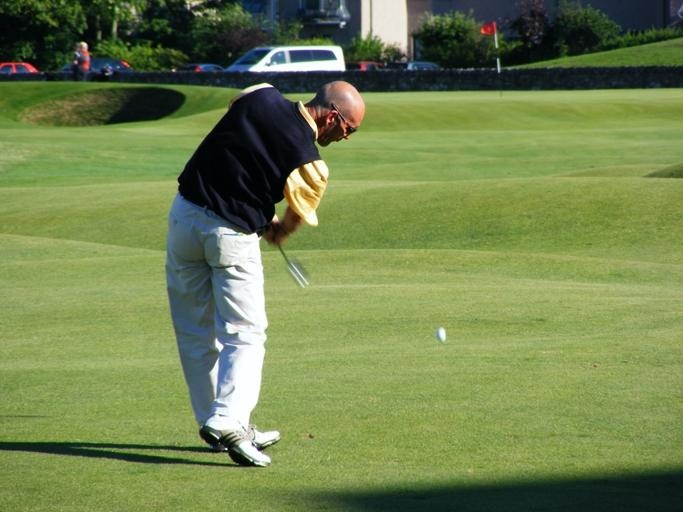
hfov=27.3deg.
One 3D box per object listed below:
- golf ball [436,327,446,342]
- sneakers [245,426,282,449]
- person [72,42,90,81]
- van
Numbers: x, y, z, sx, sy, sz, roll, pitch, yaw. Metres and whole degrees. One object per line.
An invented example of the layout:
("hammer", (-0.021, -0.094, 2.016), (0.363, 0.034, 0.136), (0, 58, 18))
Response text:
("golf ball", (1.219, 0.957, 17.120), (0.123, 0.143, 0.057), (0, -9, 11))
("sneakers", (-0.855, 1.982, 15.454), (0.478, 0.207, 0.155), (-4, 20, -11))
("person", (-8.622, -6.418, 46.410), (0.533, 1.212, 2.919), (-3, 9, -10))
("van", (-1.741, -6.588, 47.675), (3.459, 1.267, 1.700), (0, 2, -35))
